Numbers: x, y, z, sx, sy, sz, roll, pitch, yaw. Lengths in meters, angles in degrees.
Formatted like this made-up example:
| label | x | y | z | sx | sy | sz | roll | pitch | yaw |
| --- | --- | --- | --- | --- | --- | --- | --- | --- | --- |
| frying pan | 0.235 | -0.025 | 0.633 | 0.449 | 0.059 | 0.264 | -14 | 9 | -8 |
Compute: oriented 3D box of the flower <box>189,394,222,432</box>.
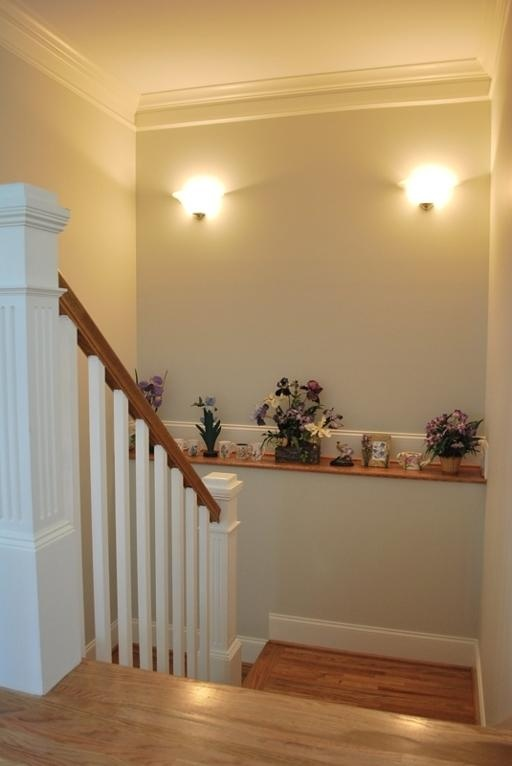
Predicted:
| label | x | y | z | sx | sy | sz | roll | pitch | yaw |
| --- | --- | --- | --- | --- | --- | --- | --- | --- | --- |
| flower | -0.299 | 0.187 | 3.602 | 0.179 | 0.274 | 0.193 | -12 | 1 | 11 |

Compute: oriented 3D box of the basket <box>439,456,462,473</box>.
| label | x | y | z | sx | sy | sz | roll | pitch | yaw |
| --- | --- | --- | --- | --- | --- | --- | --- | --- | --- |
| basket | 1.015 | 0.415 | 3.094 | 0.086 | 0.072 | 0.091 | 5 | 6 | 39 |

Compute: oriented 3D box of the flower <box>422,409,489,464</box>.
| label | x | y | z | sx | sy | sz | roll | pitch | yaw |
| --- | --- | --- | --- | --- | --- | --- | --- | --- | --- |
| flower | 1.051 | 0.290 | 3.130 | 0.269 | 0.283 | 0.319 | 2 | 5 | 23 |

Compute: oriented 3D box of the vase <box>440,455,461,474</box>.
| label | x | y | z | sx | sy | sz | roll | pitch | yaw |
| --- | --- | --- | --- | --- | --- | --- | --- | --- | --- |
| vase | 1.014 | 0.434 | 3.090 | 0.086 | 0.077 | 0.092 | 7 | 10 | 41 |

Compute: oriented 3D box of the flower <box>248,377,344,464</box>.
| label | x | y | z | sx | sy | sz | roll | pitch | yaw |
| --- | --- | --- | --- | --- | --- | --- | --- | --- | --- |
| flower | 0.182 | 0.256 | 3.503 | 0.390 | 0.471 | 0.494 | -1 | -8 | -7 |

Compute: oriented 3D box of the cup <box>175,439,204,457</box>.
| label | x | y | z | sx | sy | sz | roll | pitch | yaw |
| --- | --- | --- | --- | --- | --- | --- | --- | --- | --- |
| cup | -0.409 | 0.394 | 3.627 | 0.166 | 0.096 | 0.193 | 0 | 5 | -8 |

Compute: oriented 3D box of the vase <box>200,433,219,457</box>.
| label | x | y | z | sx | sy | sz | roll | pitch | yaw |
| --- | --- | --- | --- | --- | --- | --- | --- | --- | --- |
| vase | -0.274 | 0.378 | 3.571 | 0.117 | 0.172 | 0.123 | -1 | 1 | 1 |

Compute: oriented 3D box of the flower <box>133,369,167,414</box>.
| label | x | y | z | sx | sy | sz | roll | pitch | yaw |
| --- | --- | --- | --- | --- | --- | --- | --- | --- | --- |
| flower | -0.658 | 0.071 | 3.694 | 0.197 | 0.272 | 0.360 | -1 | 5 | -12 |

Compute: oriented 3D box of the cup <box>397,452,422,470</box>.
| label | x | y | z | sx | sy | sz | roll | pitch | yaw |
| --- | --- | --- | --- | --- | --- | --- | --- | --- | --- |
| cup | 0.838 | 0.431 | 3.228 | 0.116 | 0.089 | 0.080 | 1 | -1 | 13 |

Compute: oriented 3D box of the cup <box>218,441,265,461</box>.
| label | x | y | z | sx | sy | sz | roll | pitch | yaw |
| --- | --- | --- | --- | --- | --- | --- | --- | --- | --- |
| cup | -0.093 | 0.414 | 3.489 | 0.195 | 0.092 | 0.121 | 2 | -1 | 5 |

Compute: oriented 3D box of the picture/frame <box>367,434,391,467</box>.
| label | x | y | z | sx | sy | sz | roll | pitch | yaw |
| --- | --- | --- | --- | --- | --- | --- | --- | --- | --- |
| picture/frame | 0.693 | 0.380 | 3.310 | 0.108 | 0.162 | 0.160 | 2 | 5 | 17 |
